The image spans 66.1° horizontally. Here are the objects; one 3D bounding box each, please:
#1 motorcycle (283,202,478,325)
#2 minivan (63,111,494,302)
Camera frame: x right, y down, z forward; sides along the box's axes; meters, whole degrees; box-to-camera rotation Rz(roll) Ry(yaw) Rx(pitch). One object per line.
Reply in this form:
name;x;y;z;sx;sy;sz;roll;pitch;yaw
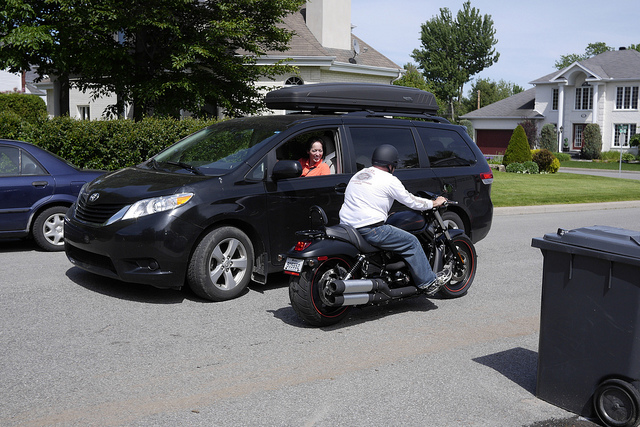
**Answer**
motorcycle;0.939;0.462;6.651;3.219;1.626;1.280;-5;5;-37
minivan;-0.277;-0.309;8.146;6.260;2.239;3.054;0;2;-27
